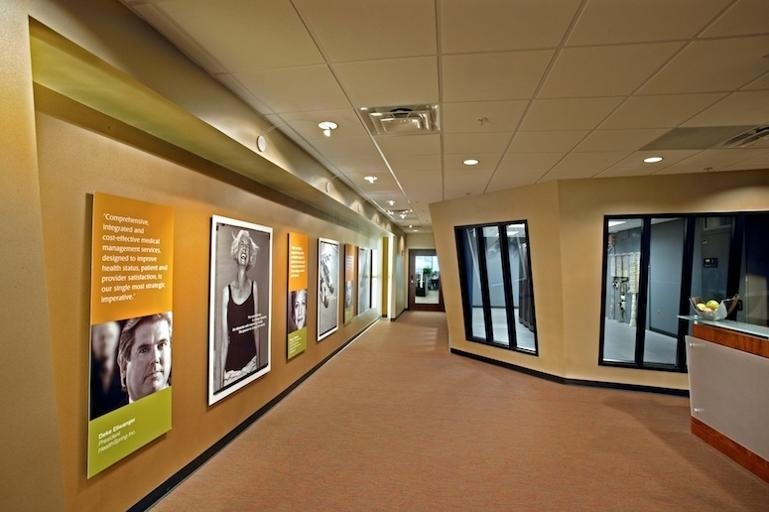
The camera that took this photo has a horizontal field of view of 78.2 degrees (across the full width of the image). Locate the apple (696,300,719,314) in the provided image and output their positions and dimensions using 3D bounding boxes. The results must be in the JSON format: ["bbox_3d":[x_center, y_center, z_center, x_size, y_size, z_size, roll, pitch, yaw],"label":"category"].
[{"bbox_3d":[4.287,0.689,6.305,0.179,0.125,0.195,1,-7,-7],"label":"apple"}]

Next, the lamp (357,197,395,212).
[{"bbox_3d":[-0.169,-1.150,10.538,0.510,0.384,1.766,2,9,5],"label":"lamp"}]

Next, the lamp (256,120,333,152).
[{"bbox_3d":[-1.082,-1.433,5.780,0.967,0.373,0.413,-2,10,-17],"label":"lamp"}]

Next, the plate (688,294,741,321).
[{"bbox_3d":[4.470,0.705,6.499,0.588,0.333,0.611,0,-6,17],"label":"plate"}]
